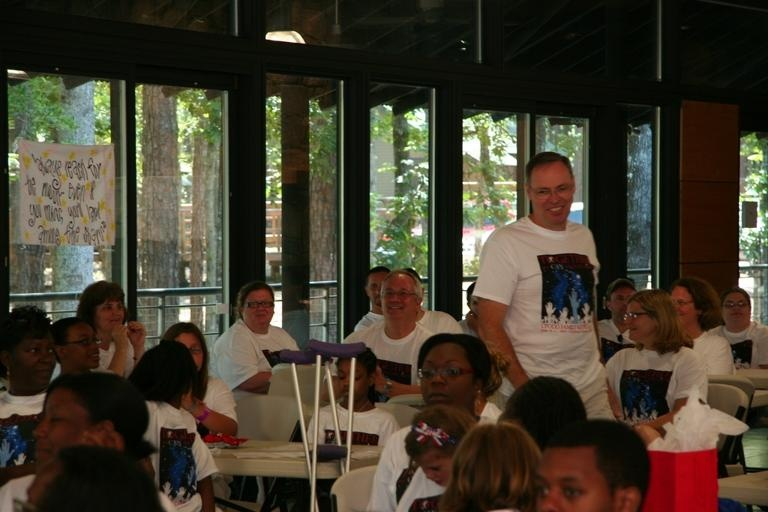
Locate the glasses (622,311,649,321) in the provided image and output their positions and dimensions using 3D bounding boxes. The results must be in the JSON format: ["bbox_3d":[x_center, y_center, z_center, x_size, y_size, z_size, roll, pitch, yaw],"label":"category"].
[{"bbox_3d":[1.567,0.379,5.486,0.047,0.061,0.179,-1,-2,-32],"label":"glasses"}]
